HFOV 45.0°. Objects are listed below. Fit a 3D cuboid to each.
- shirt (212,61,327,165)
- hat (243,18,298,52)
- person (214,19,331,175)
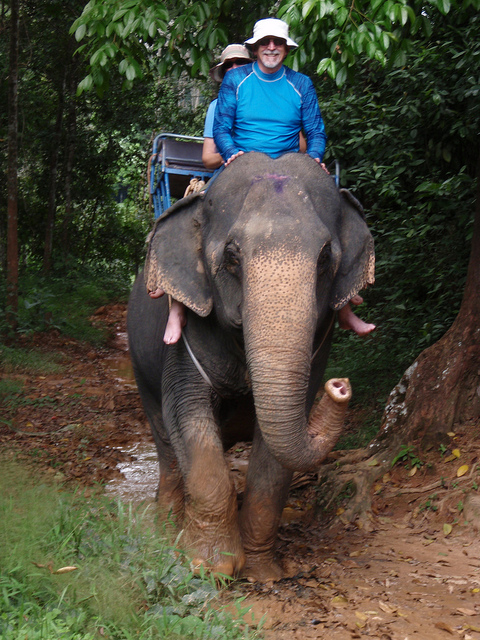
[{"bbox_3d":[0.122,-0.833,2.350,0.457,0.394,0.296,5,34,3],"label":"shirt"},{"bbox_3d":[0.125,-1.148,2.358,0.148,0.074,0.168,0,-4,-1],"label":"hat"},{"bbox_3d":[0.146,-0.797,2.366,0.511,0.755,0.487,8,31,5],"label":"person"}]
